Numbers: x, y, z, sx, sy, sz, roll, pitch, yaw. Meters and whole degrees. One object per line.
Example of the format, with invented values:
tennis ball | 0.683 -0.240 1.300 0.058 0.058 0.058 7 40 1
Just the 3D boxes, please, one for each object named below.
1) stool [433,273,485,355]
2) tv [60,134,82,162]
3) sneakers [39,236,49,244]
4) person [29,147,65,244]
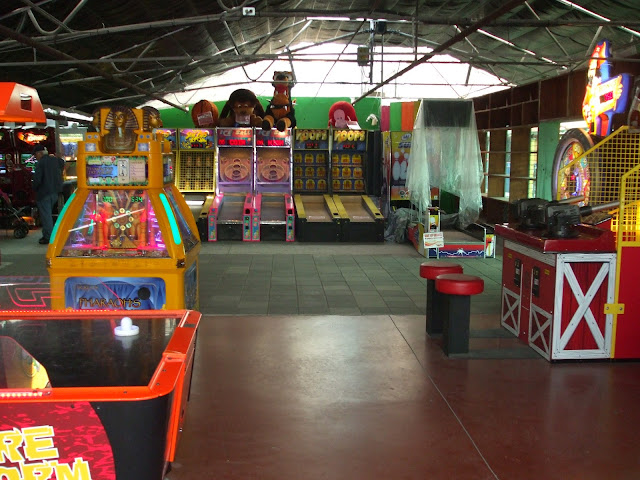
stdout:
stool | 1.279 0.683 4.433 0.454 0.678 0.445 1 0 -2
tv | -7.477 -2.840 14.490 0.384 0.864 2.216 -3 10 -21
sneakers | -5.547 0.004 9.658 0.151 0.128 0.314 1 -5 -15
person | -5.577 -0.908 9.778 0.482 1.934 0.773 -1 11 -9
